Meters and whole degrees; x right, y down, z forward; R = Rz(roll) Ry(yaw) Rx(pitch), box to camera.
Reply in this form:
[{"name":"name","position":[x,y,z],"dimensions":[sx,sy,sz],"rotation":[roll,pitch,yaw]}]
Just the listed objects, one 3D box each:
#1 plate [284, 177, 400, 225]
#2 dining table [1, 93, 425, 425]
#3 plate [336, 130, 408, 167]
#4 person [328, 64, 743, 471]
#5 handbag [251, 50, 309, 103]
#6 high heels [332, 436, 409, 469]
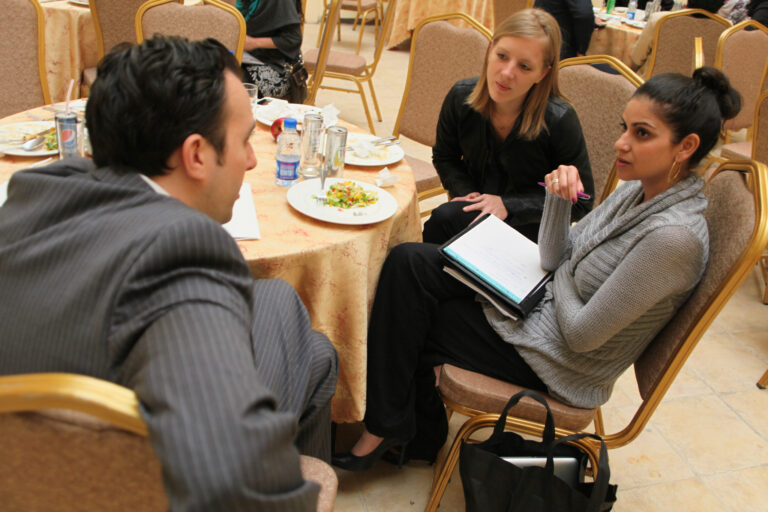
[{"name":"plate","position":[-0.134,-0.168,1.921],"dimensions":[0.206,0.024,0.210],"rotation":[-8,34,-31]},{"name":"dining table","position":[-0.222,0.019,2.158],"dimensions":[1.151,0.603,1.158],"rotation":[4,25,-1]},{"name":"plate","position":[-0.037,-0.387,2.293],"dimensions":[0.160,0.018,0.159],"rotation":[-18,38,-33]},{"name":"person","position":[0.467,0.118,2.081],"dimensions":[1.035,1.600,0.607],"rotation":[12,17,3]},{"name":"handbag","position":[-0.670,-1.128,3.892],"dimensions":[0.324,0.171,0.244],"rotation":[10,56,-12]},{"name":"high heels","position":[-0.062,0.685,2.167],"dimensions":[0.305,0.159,0.100],"rotation":[2,5,-5]}]
